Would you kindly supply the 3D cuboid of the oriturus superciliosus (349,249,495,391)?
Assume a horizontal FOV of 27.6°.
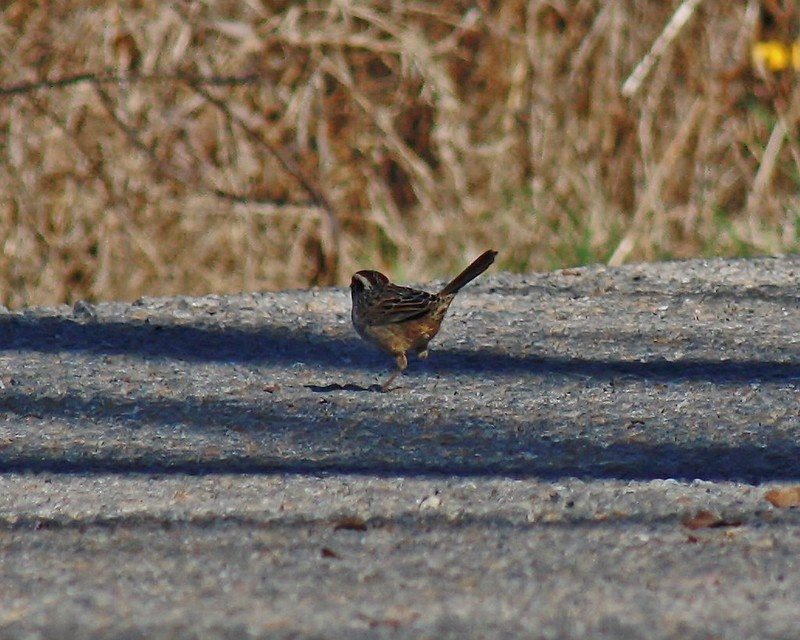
[{"bbox_3d":[0.091,0.023,7.641,0.873,0.630,0.296,-5,-9,38],"label":"oriturus superciliosus"}]
